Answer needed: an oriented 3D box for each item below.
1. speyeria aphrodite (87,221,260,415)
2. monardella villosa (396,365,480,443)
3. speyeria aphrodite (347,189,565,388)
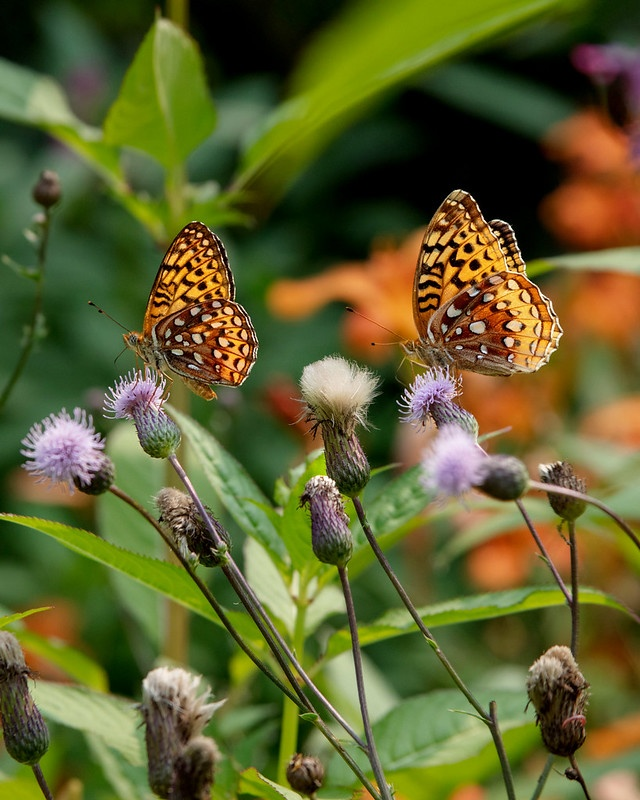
[{"bbox_3d":[-0.289,-0.181,2.344,0.437,0.361,0.432,3,-8,-11],"label":"speyeria aphrodite"},{"bbox_3d":[0.198,0.000,1.760,0.132,0.103,0.134,-2,-55,41],"label":"monardella villosa"},{"bbox_3d":[0.344,-0.219,2.311,0.443,0.344,0.375,13,-6,0],"label":"speyeria aphrodite"}]
